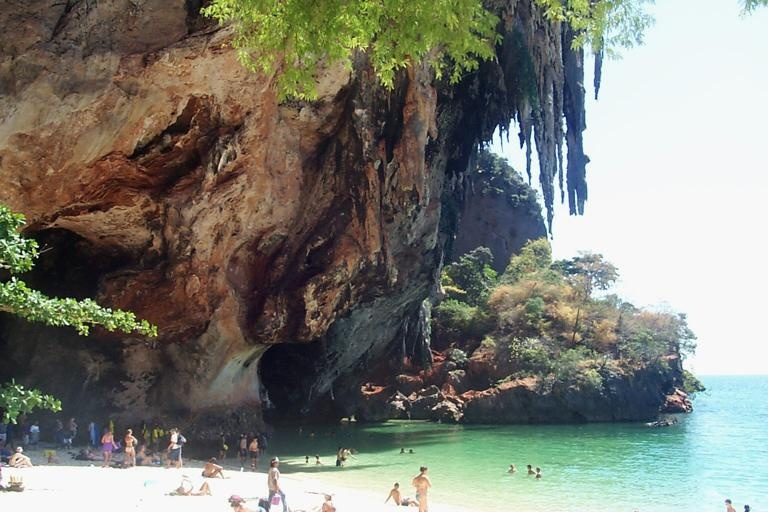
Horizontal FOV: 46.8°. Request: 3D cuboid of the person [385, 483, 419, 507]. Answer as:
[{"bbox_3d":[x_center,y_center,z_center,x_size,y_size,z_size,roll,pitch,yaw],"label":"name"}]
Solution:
[{"bbox_3d":[0.809,9.184,34.555,0.782,0.620,1.099,-11,-22,35],"label":"person"}]
